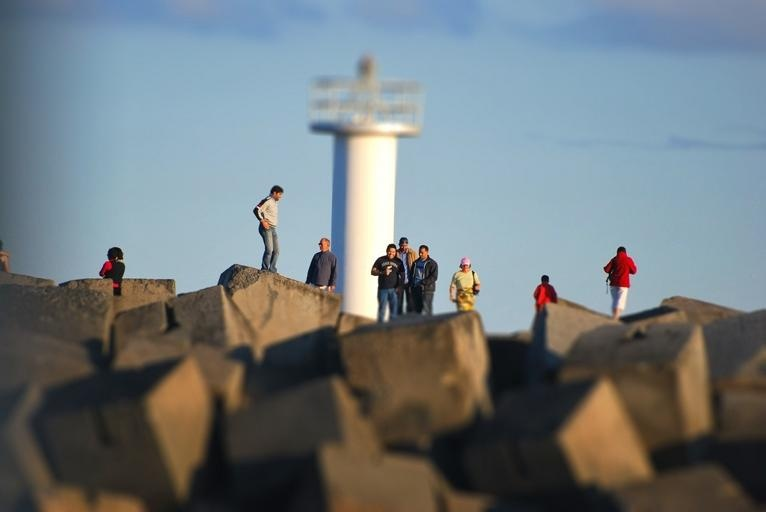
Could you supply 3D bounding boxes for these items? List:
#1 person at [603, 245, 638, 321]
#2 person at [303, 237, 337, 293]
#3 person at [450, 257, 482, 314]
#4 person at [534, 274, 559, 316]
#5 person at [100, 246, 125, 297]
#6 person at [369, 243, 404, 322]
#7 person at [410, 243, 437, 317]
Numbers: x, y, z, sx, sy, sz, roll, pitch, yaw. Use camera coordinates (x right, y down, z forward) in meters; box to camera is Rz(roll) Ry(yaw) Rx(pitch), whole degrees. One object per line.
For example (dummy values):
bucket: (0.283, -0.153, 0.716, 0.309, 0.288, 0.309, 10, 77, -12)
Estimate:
person: (3.305, 0.430, 18.219, 0.384, 1.154, 0.362, 2, -27, 17)
person: (-0.805, 0.254, 17.155, 0.360, 1.010, 0.202, 2, 26, -8)
person: (1.046, 0.451, 16.814, 0.353, 1.022, 0.296, -4, 42, 0)
person: (2.117, 0.465, 16.929, 0.263, 0.237, 0.750, 0, -34, 10)
person: (-3.018, 0.162, 14.564, 0.247, 0.594, 1.227, 0, 5, -12)
person: (0.090, 0.348, 17.036, 0.532, 0.970, 0.407, -1, 5, -29)
person: (0.463, 0.420, 17.139, 0.265, 1.161, 0.287, 9, 20, 6)
